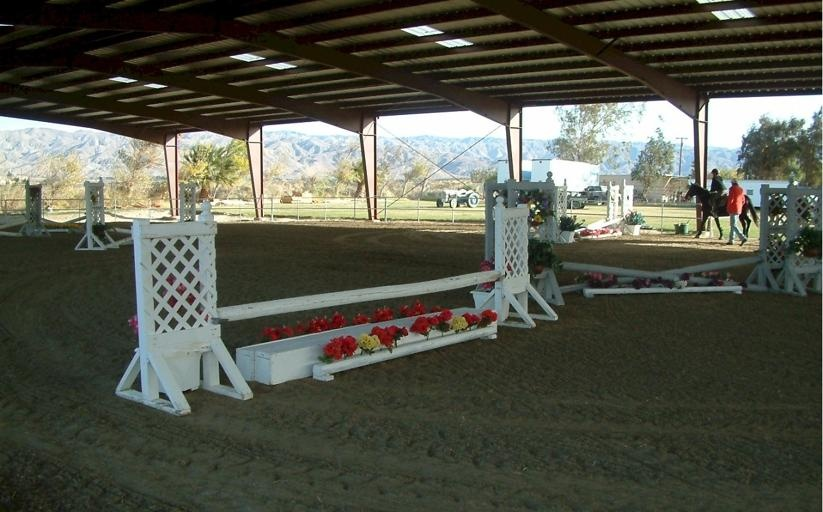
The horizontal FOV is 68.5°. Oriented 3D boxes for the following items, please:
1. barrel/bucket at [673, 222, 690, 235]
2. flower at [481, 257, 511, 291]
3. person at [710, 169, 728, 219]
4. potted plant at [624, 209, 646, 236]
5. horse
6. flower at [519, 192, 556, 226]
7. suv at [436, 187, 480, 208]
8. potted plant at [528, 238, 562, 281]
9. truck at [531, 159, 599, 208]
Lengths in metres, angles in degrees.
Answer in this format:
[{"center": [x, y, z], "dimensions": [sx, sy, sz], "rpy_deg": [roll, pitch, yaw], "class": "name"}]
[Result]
[{"center": [9.082, -0.930, 20.364], "dimensions": [0.418, 0.309, 0.425], "rpy_deg": [-1, 0, 0], "class": "barrel/bucket"}, {"center": [1.114, 0.261, 8.567], "dimensions": [0.320, 0.428, 0.206], "rpy_deg": [2, -11, 4], "class": "flower"}, {"center": [9.176, -1.904, 18.113], "dimensions": [0.430, 1.404, 0.642], "rpy_deg": [3, 10, 25], "class": "person"}, {"center": [7.907, -1.167, 21.314], "dimensions": [0.864, 0.861, 0.856], "rpy_deg": [0, -3, -10], "class": "potted plant"}, {"center": [9.335, -1.398, 18.185], "dimensions": [0.633, 1.651, 2.159], "rpy_deg": [-18, 18, -35], "class": "horse"}, {"center": [1.994, -0.772, 9.645], "dimensions": [0.612, 0.527, 0.401], "rpy_deg": [-10, 12, -42], "class": "flower"}, {"center": [3.070, -4.043, 39.400], "dimensions": [2.550, 1.211, 1.781], "rpy_deg": [-2, 3, -33], "class": "suv"}, {"center": [1.983, 0.000, 9.421], "dimensions": [0.478, 0.564, 0.482], "rpy_deg": [10, -12, 6], "class": "potted plant"}, {"center": [8.174, -4.518, 33.306], "dimensions": [1.083, 1.890, 8.213], "rpy_deg": [2, 10, 26], "class": "truck"}]
